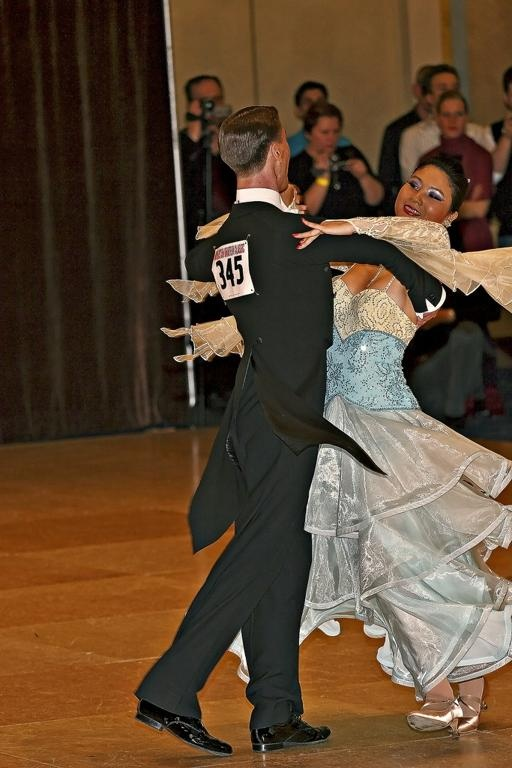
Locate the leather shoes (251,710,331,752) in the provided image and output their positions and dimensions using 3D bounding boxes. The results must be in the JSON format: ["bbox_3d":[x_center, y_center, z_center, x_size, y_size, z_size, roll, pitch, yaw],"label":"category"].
[{"bbox_3d":[0.071,0.726,1.702,0.182,0.064,0.057,-5,5,-24],"label":"leather shoes"}]

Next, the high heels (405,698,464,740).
[{"bbox_3d":[0.389,0.707,1.709,0.155,0.068,0.052,11,-42,-24],"label":"high heels"}]

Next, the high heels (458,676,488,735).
[{"bbox_3d":[0.480,0.704,1.765,0.050,0.056,0.131,2,27,32],"label":"high heels"}]

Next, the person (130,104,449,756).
[{"bbox_3d":[0.065,0.088,1.689,0.586,1.143,0.311,-1,0,10],"label":"person"}]
